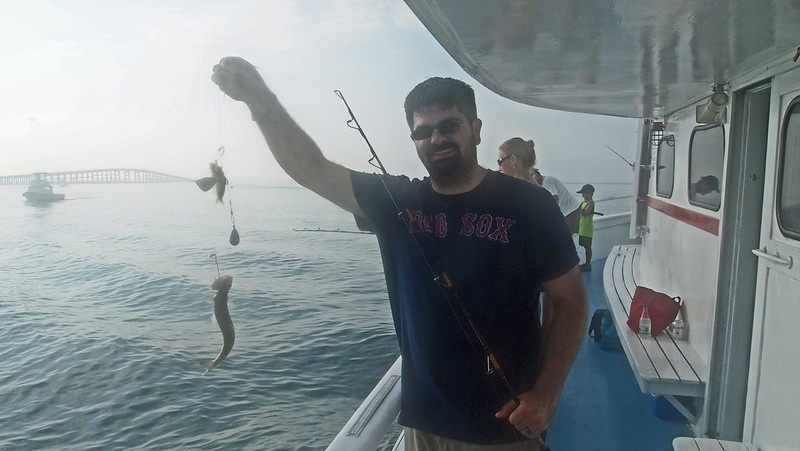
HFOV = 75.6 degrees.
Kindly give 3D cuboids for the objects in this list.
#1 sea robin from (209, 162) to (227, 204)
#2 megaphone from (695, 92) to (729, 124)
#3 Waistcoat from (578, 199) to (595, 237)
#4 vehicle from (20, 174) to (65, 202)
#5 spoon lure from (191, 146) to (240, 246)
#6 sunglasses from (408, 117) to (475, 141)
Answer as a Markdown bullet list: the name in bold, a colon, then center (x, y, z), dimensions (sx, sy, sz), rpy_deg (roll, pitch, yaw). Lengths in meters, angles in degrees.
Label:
- **sea robin**: center (-1.601, -0.374, 4.558), dimensions (0.149, 0.347, 0.128), rpy_deg (-5, 3, -44)
- **megaphone**: center (3.728, -1.360, 6.145), dimensions (0.253, 0.337, 0.353), rpy_deg (20, 8, 22)
- **Waistcoat**: center (4.034, -0.218, 11.165), dimensions (0.334, 0.744, 0.301), rpy_deg (26, 44, 34)
- **vehicle**: center (-23.651, -2.063, 34.357), dimensions (0.913, 1.178, 2.168), rpy_deg (-1, 8, 29)
- **spoon lure**: center (-1.588, -0.243, 4.600), dimensions (0.316, 0.851, 0.431), rpy_deg (1, 0, -13)
- **sunglasses**: center (0.302, -0.793, 4.272), dimensions (0.428, 0.164, 0.043), rpy_deg (-5, 8, 0)
